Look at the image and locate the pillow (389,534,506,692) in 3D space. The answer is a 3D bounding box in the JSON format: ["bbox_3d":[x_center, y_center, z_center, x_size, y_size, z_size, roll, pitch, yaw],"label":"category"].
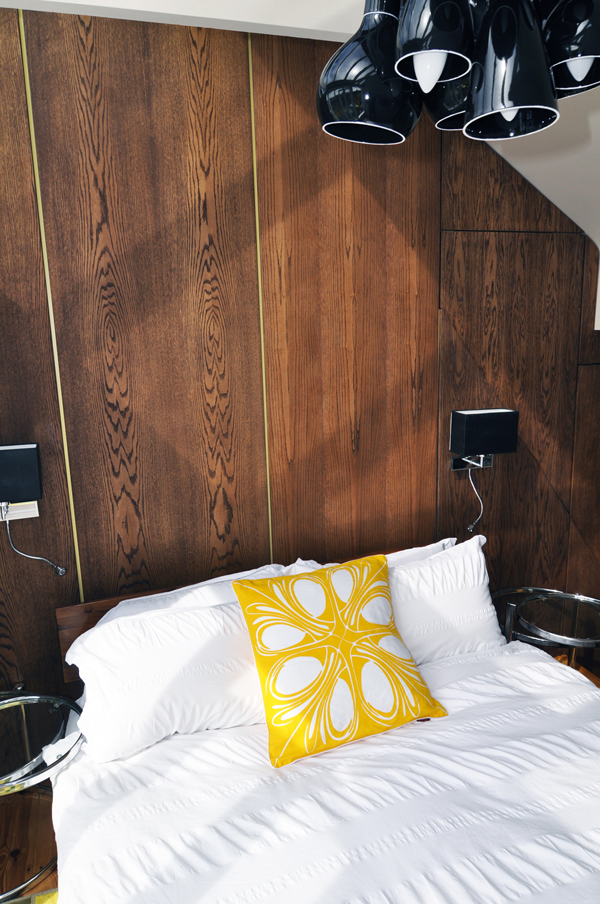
[{"bbox_3d":[0.444,0.507,2.157,0.289,0.255,0.108,-13,6,-29],"label":"pillow"}]

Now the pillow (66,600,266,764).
[{"bbox_3d":[-0.345,0.588,1.811,0.459,0.342,0.140,-2,-13,-22],"label":"pillow"}]
